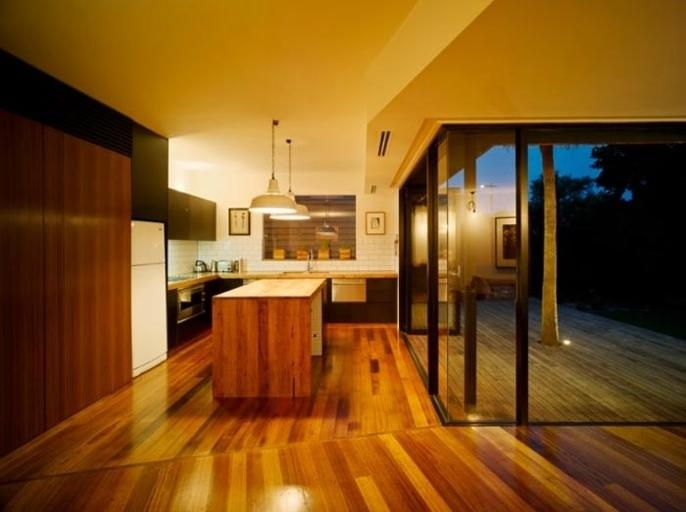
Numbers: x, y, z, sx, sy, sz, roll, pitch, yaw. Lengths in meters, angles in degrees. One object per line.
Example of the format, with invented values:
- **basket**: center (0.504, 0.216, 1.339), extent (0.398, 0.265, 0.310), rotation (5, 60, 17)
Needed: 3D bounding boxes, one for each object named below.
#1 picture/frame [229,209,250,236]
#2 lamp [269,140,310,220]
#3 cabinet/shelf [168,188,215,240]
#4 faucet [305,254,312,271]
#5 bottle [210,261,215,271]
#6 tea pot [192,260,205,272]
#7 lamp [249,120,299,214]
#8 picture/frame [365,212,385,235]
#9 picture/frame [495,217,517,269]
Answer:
- **picture/frame**: center (-1.680, -0.556, 8.489), extent (0.357, 0.494, 0.035), rotation (0, -1, -4)
- **lamp**: center (-0.729, -1.007, 6.114), extent (0.434, 0.812, 0.407), rotation (34, 30, 31)
- **cabinet/shelf**: center (-2.169, -0.576, 7.630), extent (1.175, 0.613, 0.192), rotation (9, 9, 32)
- **faucet**: center (-0.554, 0.087, 8.552), extent (0.111, 0.263, 0.249), rotation (-1, 5, -4)
- **bottle**: center (-2.068, 0.143, 8.355), extent (0.094, 0.159, 0.256), rotation (-2, 5, -15)
- **tea pot**: center (-2.234, 0.152, 8.100), extent (0.170, 0.200, 0.151), rotation (0, 8, -3)
- **lamp**: center (-0.765, -0.988, 5.717), extent (0.459, 0.985, 0.490), rotation (0, 0, 20)
- **picture/frame**: center (0.520, -0.550, 8.551), extent (0.308, 0.447, 0.029), rotation (0, -3, -2)
- **picture/frame**: center (1.529, -0.160, 4.864), extent (0.236, 0.512, 0.036), rotation (-2, 24, 14)
